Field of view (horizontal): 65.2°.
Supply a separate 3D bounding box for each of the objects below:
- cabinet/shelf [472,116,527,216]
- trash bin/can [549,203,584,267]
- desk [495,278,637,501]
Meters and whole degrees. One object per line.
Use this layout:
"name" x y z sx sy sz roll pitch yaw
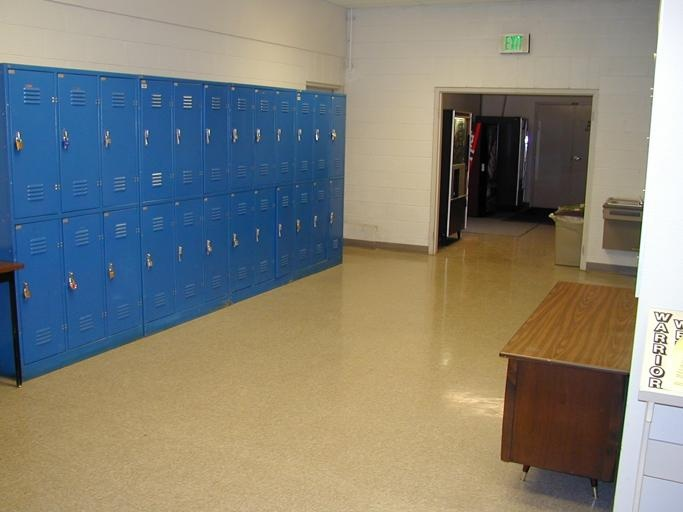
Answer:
"cabinet/shelf" 4.147 -2.453 14.147 1.311 2.665 2.635 1 -4 14
"trash bin/can" 3.837 -0.317 9.119 0.526 0.894 0.574 7 15 21
"desk" 1.453 0.897 3.432 0.478 0.605 1.296 3 17 17
